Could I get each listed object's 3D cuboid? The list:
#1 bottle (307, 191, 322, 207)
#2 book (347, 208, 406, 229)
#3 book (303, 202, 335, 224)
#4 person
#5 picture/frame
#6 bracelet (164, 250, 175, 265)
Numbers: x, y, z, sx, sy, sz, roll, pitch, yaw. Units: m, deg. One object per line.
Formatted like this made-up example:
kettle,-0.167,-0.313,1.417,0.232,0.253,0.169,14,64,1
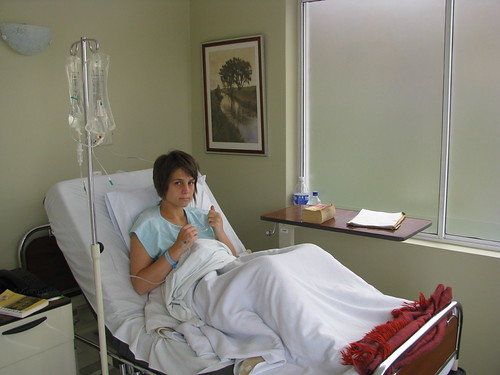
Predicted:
bottle,0.527,0.085,3.219,0.106,0.225,0.114,1,9,0
book,0.875,0.226,2.722,0.197,0.044,0.209,2,17,36
book,0.506,0.177,2.818,0.124,0.085,0.212,-1,2,33
person,-0.452,0.221,2.504,0.444,0.884,0.820,-8,-1,35
picture/frame,-0.114,-0.820,3.373,0.878,1.338,0.049,7,15,35
bracelet,-0.461,0.411,2.254,0.026,0.075,0.055,-34,-13,-7
